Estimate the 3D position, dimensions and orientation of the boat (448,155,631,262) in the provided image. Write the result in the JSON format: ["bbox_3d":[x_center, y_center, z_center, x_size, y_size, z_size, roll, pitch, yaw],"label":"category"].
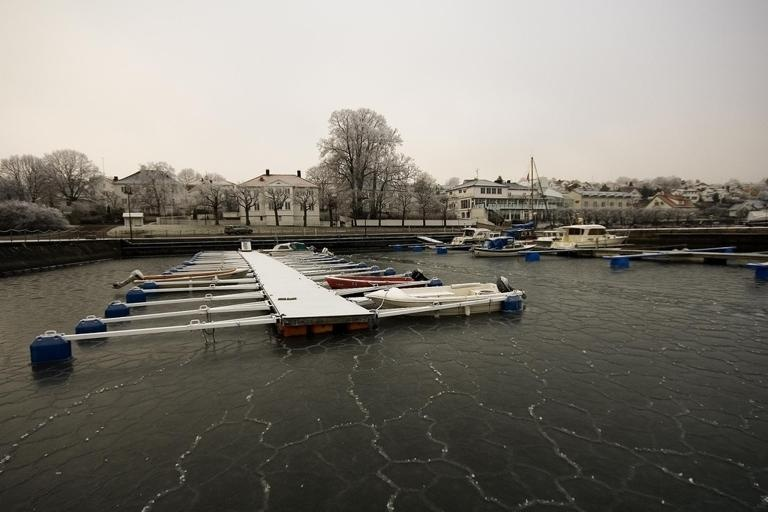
[{"bbox_3d":[19.594,-5.203,64.525,16.051,6.254,19.043,-2,8,-10],"label":"boat"}]

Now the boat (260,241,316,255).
[{"bbox_3d":[-8.376,-0.522,38.761,5.655,1.049,1.529,0,9,-12],"label":"boat"}]

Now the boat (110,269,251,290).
[{"bbox_3d":[-8.972,1.048,21.929,5.095,0.596,1.022,0,7,-17],"label":"boat"}]

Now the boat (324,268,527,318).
[{"bbox_3d":[2.132,1.464,17.098,5.789,0.937,2.042,-1,1,-9],"label":"boat"}]
